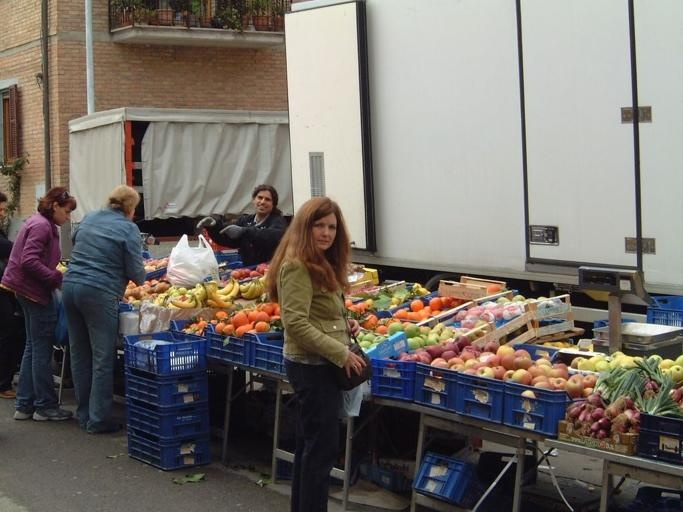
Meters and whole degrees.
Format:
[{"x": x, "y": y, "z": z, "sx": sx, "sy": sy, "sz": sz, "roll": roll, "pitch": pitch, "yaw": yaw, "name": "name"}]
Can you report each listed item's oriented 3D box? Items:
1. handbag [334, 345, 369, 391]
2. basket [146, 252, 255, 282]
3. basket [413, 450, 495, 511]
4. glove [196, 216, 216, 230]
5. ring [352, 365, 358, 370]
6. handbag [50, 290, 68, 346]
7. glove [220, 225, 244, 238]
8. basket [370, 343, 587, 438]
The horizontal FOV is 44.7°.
[{"x": 0.056, "y": 0.776, "z": 5.789, "sx": 0.132, "sy": 0.283, "sz": 0.267, "roll": -18, "pitch": -3, "yaw": 29, "name": "handbag"}, {"x": -1.692, "y": 0.114, "z": 9.951, "sx": 0.617, "sy": 0.229, "sz": 0.695, "roll": -2, "pitch": 1, "yaw": 18, "name": "basket"}, {"x": 0.820, "y": 1.652, "z": 6.247, "sx": 0.390, "sy": 0.265, "sz": 0.414, "roll": 15, "pitch": -27, "yaw": 38, "name": "basket"}, {"x": -1.527, "y": -0.381, "z": 9.409, "sx": 0.211, "sy": 0.146, "sz": 0.385, "roll": -3, "pitch": 8, "yaw": -9, "name": "glove"}, {"x": 0.091, "y": 0.773, "z": 5.773, "sx": 0.026, "sy": 0.023, "sz": 0.028, "roll": 1, "pitch": 0, "yaw": 0, "name": "ring"}, {"x": -2.981, "y": 0.747, "z": 8.821, "sx": 0.164, "sy": 0.669, "sz": 0.206, "roll": -9, "pitch": 39, "yaw": -31, "name": "handbag"}, {"x": -1.239, "y": -0.269, "z": 9.354, "sx": 0.161, "sy": 0.178, "sz": 0.339, "roll": -7, "pitch": 10, "yaw": -36, "name": "glove"}, {"x": 0.959, "y": 0.997, "z": 6.085, "sx": 0.961, "sy": 0.261, "sz": 0.588, "roll": 13, "pitch": 2, "yaw": 33, "name": "basket"}]
